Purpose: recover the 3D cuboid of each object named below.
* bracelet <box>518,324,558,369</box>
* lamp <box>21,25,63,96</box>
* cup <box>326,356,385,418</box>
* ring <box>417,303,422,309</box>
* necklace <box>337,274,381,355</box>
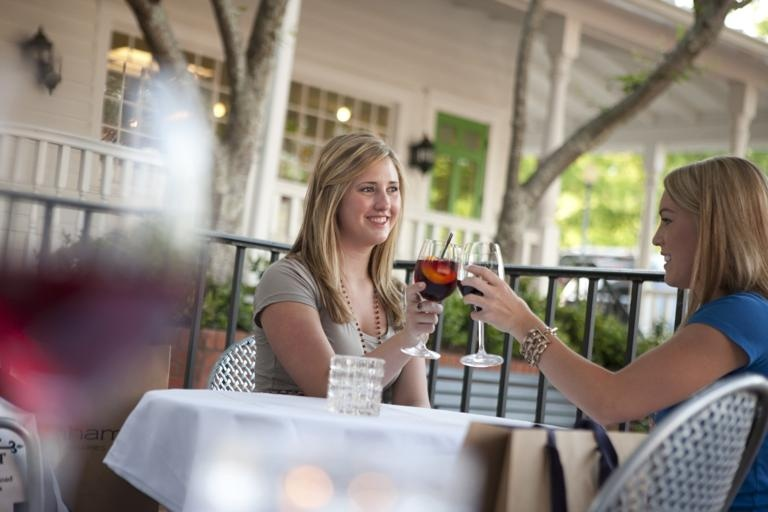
[{"bbox_3d":[0.493,0.267,2.261,0.041,0.115,0.079,45,5,-35],"label":"bracelet"},{"bbox_3d":[-2.852,-1.649,5.976,0.125,0.495,0.312,7,39,40],"label":"lamp"},{"bbox_3d":[-0.090,0.398,2.169,0.166,0.173,0.171,1,-5,0],"label":"cup"},{"bbox_3d":[0.123,0.171,2.461,0.012,0.018,0.017,-2,-8,12],"label":"ring"},{"bbox_3d":[-0.094,0.241,2.873,0.156,0.284,0.066,2,-28,-27],"label":"necklace"}]
